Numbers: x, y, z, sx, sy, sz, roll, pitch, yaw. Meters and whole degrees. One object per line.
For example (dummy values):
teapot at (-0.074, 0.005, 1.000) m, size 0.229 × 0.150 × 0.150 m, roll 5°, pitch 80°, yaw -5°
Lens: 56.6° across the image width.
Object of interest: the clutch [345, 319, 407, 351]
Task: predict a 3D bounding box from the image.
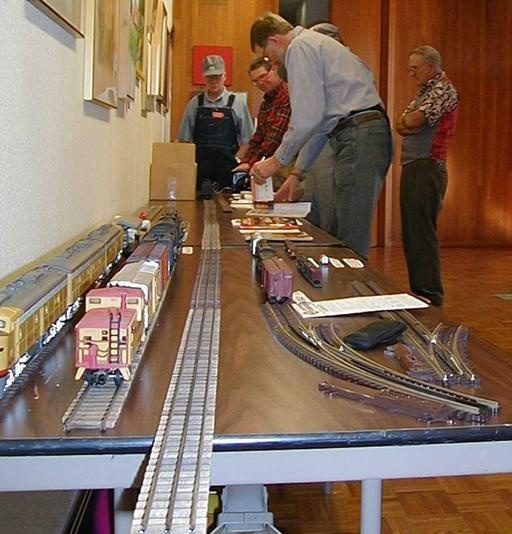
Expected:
clutch at (0.220, 0.114, 0.879) m, size 0.082 × 0.023 × 0.057 m, roll -13°, pitch 18°, yaw -32°

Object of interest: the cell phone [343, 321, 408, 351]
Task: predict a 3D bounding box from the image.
cell phone at (0.219, 0.116, 0.883) m, size 0.083 × 0.023 × 0.055 m, roll -12°, pitch 17°, yaw -32°

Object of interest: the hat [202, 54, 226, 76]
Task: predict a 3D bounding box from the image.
hat at (-0.450, -2.140, 4.996) m, size 0.229 × 0.217 × 0.258 m, roll -1°, pitch 12°, yaw -7°

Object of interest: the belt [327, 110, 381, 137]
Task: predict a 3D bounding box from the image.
belt at (0.525, -0.749, 2.408) m, size 0.167 × 0.055 × 0.123 m, roll -23°, pitch 4°, yaw 4°

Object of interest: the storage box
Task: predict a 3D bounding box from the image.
storage box at (-0.642, -0.756, 3.791) m, size 0.472 × 0.442 × 0.471 m, roll -1°, pitch 9°, yaw -7°
